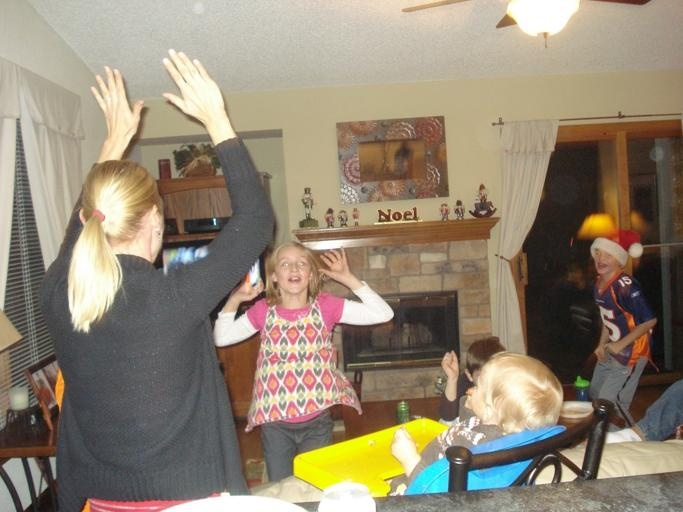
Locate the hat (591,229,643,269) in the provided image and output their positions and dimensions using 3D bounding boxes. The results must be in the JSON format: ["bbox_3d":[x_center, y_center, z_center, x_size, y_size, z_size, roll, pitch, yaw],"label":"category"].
[{"bbox_3d":[2.024,-0.083,4.201,0.341,0.246,0.244,15,7,19],"label":"hat"}]

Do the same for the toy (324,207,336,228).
[{"bbox_3d":[-0.109,-0.335,4.972,0.097,0.167,0.257,-4,4,-1],"label":"toy"}]

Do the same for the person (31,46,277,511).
[{"bbox_3d":[-0.606,0.105,1.870,0.789,1.460,0.267,-4,5,-7],"label":"person"}]

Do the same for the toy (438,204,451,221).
[{"bbox_3d":[0.900,-0.387,5.001,0.089,0.149,0.298,-3,4,10],"label":"toy"}]

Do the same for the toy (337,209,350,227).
[{"bbox_3d":[0.012,-0.333,5.000,0.097,0.145,0.278,-4,4,0],"label":"toy"}]

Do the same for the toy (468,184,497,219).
[{"bbox_3d":[1.239,-0.489,5.046,0.225,0.292,0.349,-2,5,15],"label":"toy"}]
